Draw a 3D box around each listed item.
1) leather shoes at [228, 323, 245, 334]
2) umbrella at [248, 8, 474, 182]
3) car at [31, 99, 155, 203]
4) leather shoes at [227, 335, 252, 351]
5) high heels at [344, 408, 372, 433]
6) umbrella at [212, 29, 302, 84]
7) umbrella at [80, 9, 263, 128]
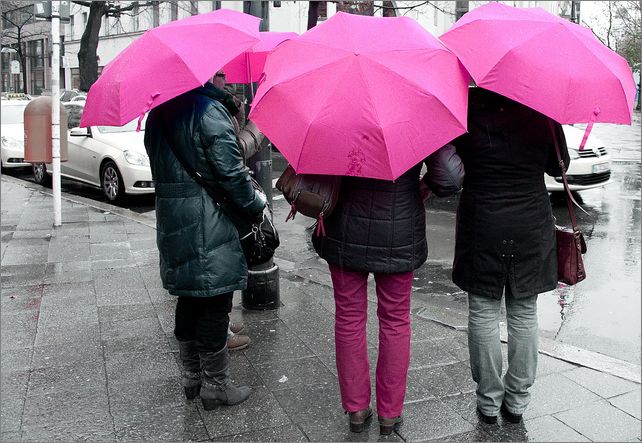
[{"bbox_3d":[-0.749,0.977,4.721,0.168,0.073,0.072,-8,27,-16],"label":"leather shoes"},{"bbox_3d":[0.238,-0.776,3.154,1.279,0.956,0.564,5,12,15],"label":"umbrella"},{"bbox_3d":[-4.822,-1.849,12.542,4.744,2.044,2.358,6,9,38],"label":"car"},{"bbox_3d":[-0.710,1.050,4.534,0.217,0.093,0.093,-6,26,-16],"label":"leather shoes"},{"bbox_3d":[0.262,1.355,3.531,0.085,0.082,0.198,0,20,12],"label":"high heels"},{"bbox_3d":[-0.519,-1.366,4.520,0.605,0.513,0.601,-15,17,-35],"label":"umbrella"},{"bbox_3d":[-0.989,-0.968,3.386,1.113,0.712,0.598,-2,13,-19],"label":"umbrella"}]
